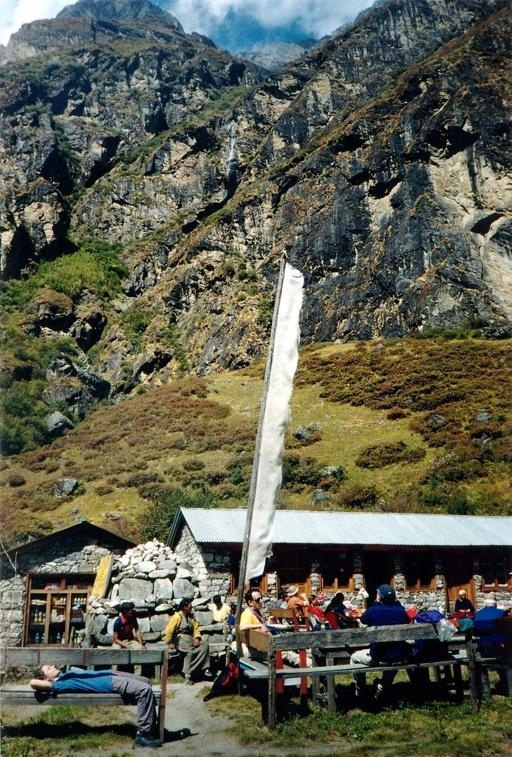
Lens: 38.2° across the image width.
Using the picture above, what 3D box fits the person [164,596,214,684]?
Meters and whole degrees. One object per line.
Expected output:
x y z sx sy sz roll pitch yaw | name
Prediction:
-1.165 4.672 13.225 0.833 1.460 1.436 3 -12 -2 | person

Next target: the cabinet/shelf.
-5.257 6.174 19.380 1.937 1.768 0.590 15 -28 -39 | cabinet/shelf

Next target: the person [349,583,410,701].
1.747 3.745 10.417 0.790 1.581 0.764 -2 -13 19 | person

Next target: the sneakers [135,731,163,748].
-1.296 4.421 9.019 0.322 0.207 0.132 2 -31 2 | sneakers
